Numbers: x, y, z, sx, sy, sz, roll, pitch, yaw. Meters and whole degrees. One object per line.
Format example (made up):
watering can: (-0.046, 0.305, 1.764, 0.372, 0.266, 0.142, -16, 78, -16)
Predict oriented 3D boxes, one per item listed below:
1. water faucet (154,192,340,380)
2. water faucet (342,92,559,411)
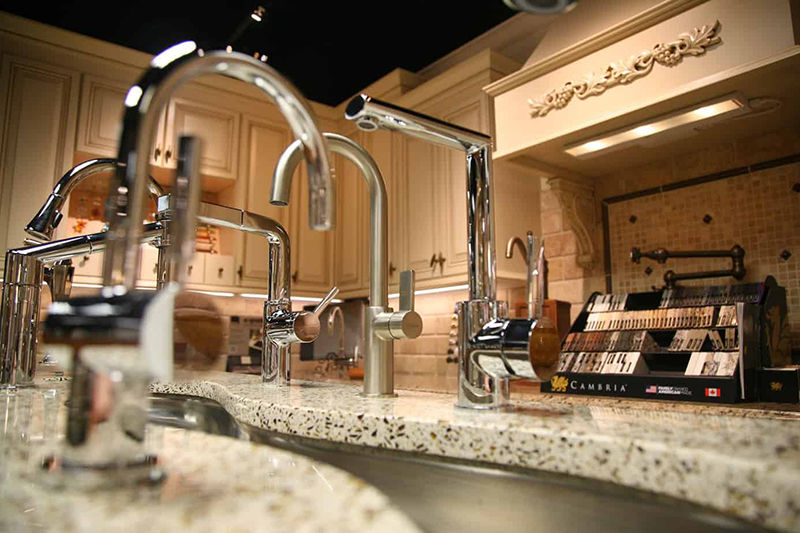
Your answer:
water faucet: (-0.276, 0.069, 1.158, 0.400, 0.453, 0.303, 7, -9, -37)
water faucet: (0.096, -0.015, 0.888, 0.314, 0.457, 0.319, 1, -6, 13)
